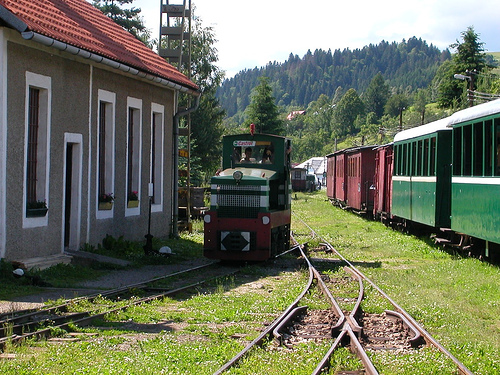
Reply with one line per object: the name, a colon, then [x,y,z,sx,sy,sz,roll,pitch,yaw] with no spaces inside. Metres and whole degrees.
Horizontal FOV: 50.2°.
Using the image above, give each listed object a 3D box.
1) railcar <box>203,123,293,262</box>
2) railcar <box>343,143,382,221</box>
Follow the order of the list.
railcar: [0.083,0.182,17.091,2.260,4.423,2.639,-1,1,14]
railcar: [7.155,-0.376,34.049,1.663,5.106,1.410,1,4,20]
